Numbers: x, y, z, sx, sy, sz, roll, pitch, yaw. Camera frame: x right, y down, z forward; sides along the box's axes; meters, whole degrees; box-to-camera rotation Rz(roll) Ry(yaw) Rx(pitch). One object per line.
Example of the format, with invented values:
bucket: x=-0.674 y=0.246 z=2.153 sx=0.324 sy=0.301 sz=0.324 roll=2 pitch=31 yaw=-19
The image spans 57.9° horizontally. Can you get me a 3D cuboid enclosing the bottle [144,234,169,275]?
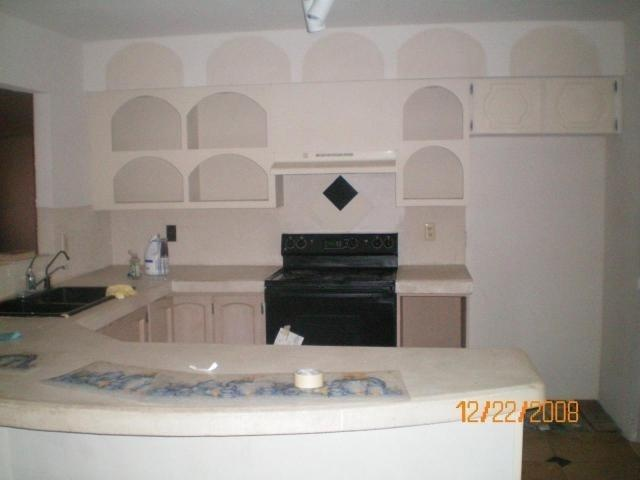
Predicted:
bottle: x=-1.191 y=0.115 z=4.231 sx=0.161 sy=0.302 sz=0.184 roll=5 pitch=-9 yaw=-24

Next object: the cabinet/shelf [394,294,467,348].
cabinet/shelf: x=0.878 y=0.618 z=4.471 sx=0.447 sy=0.425 sz=0.236 roll=1 pitch=4 yaw=9

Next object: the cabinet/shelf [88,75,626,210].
cabinet/shelf: x=0.117 y=-0.682 z=4.325 sx=3.735 sy=0.913 sz=0.361 roll=0 pitch=-8 yaw=6

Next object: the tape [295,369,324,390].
tape: x=-0.041 y=0.600 z=2.492 sx=0.121 sy=0.076 sz=0.115 roll=-1 pitch=-8 yaw=15
